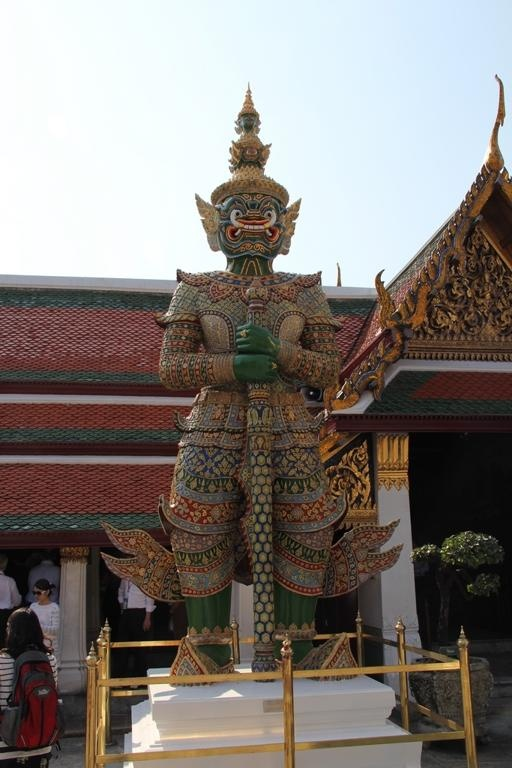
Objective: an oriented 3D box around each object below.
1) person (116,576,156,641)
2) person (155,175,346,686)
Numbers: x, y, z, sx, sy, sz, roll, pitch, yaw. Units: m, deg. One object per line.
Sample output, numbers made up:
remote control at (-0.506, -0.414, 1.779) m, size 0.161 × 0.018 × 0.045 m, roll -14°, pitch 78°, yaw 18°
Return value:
person at (-1.264, 2.403, 9.806) m, size 0.345 × 0.632 × 1.238 m, roll 1°, pitch -14°, yaw -8°
person at (-0.013, 0.199, 6.666) m, size 1.187 × 3.564 × 0.824 m, roll 13°, pitch -21°, yaw -39°
